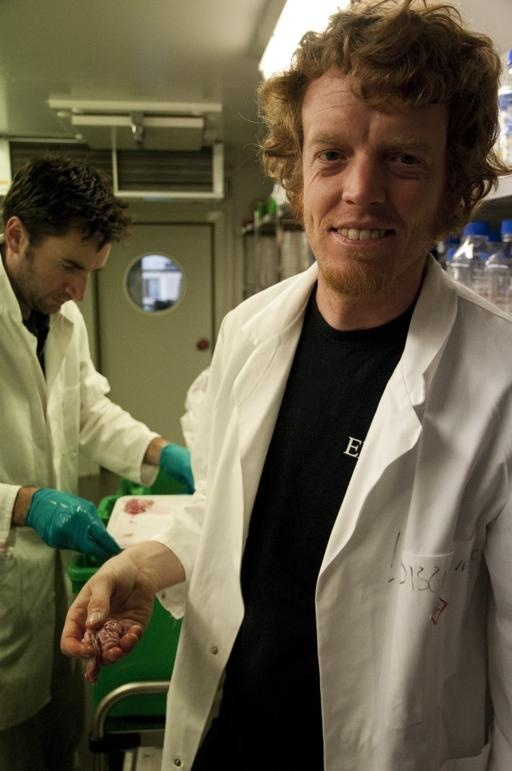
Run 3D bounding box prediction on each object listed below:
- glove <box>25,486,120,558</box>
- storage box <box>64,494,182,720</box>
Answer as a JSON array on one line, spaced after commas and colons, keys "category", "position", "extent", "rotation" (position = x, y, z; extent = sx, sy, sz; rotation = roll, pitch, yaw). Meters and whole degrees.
[{"category": "glove", "position": [-0.407, 0.314, 1.608], "extent": [0.246, 0.073, 0.140], "rotation": [26, 25, 13]}, {"category": "storage box", "position": [-0.302, 0.482, 1.565], "extent": [0.238, 0.157, 0.240], "rotation": [20, 12, 2]}]
